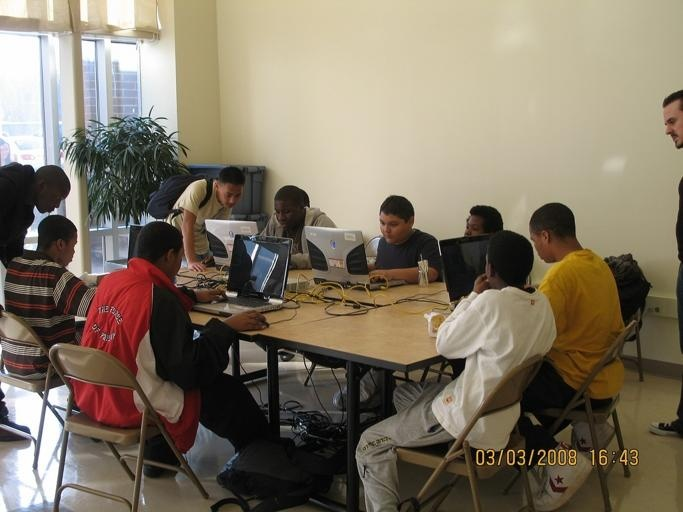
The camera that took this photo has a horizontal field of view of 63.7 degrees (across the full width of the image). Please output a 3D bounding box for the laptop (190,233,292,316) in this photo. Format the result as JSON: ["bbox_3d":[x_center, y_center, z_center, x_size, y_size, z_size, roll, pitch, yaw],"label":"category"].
[{"bbox_3d":[-0.606,0.107,3.291,0.552,0.412,0.515,4,10,25],"label":"laptop"}]

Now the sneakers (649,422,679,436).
[{"bbox_3d":[2.118,1.138,3.607,0.172,0.077,0.066,5,5,28],"label":"sneakers"}]

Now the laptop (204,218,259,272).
[{"bbox_3d":[-0.758,-0.115,4.193,0.423,0.418,0.332,2,18,17],"label":"laptop"}]

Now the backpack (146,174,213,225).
[{"bbox_3d":[-1.530,-0.533,5.223,0.571,0.572,0.380,19,7,-17],"label":"backpack"}]

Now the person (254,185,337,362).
[{"bbox_3d":[-0.372,0.184,4.488,0.955,1.391,1.017,-2,-3,5],"label":"person"}]

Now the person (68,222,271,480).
[{"bbox_3d":[-0.909,0.570,3.015,0.922,1.434,1.015,-2,15,3],"label":"person"}]

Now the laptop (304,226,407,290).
[{"bbox_3d":[0.029,-0.036,3.853,0.454,0.433,0.375,5,20,29],"label":"laptop"}]
